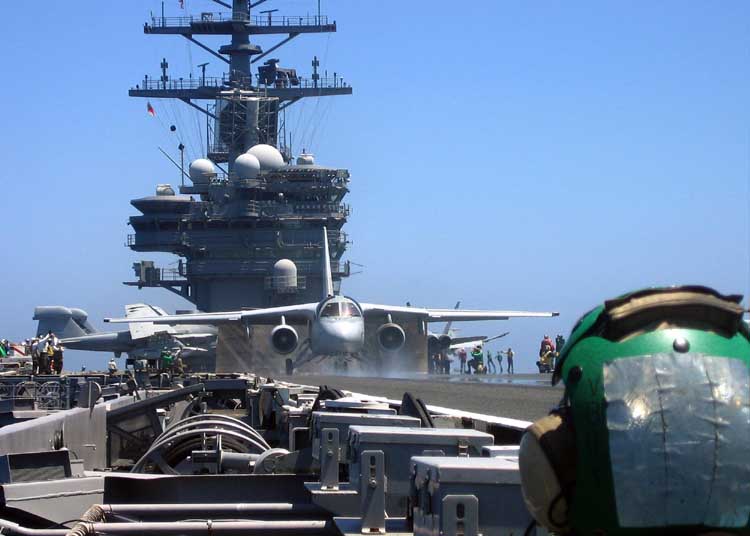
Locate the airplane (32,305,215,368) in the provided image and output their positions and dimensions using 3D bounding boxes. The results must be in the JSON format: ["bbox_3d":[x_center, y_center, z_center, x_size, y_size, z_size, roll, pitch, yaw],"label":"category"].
[{"bbox_3d":[-8.898,2.664,46.427,4.538,1.065,4.239,2,-11,14],"label":"airplane"}]

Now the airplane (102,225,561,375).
[{"bbox_3d":[-1.512,1.791,39.506,8.436,3.347,8.389,-2,-6,-5],"label":"airplane"}]

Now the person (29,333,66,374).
[{"bbox_3d":[-9.029,2.375,34.256,0.774,1.189,2.161,1,-6,-16],"label":"person"}]
